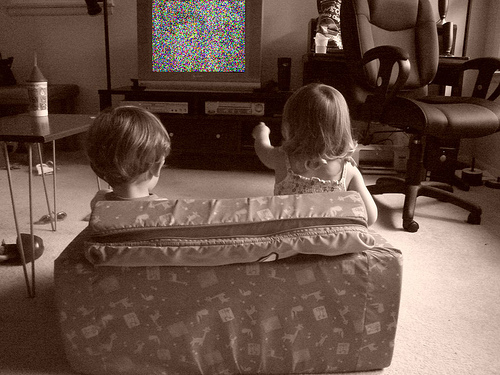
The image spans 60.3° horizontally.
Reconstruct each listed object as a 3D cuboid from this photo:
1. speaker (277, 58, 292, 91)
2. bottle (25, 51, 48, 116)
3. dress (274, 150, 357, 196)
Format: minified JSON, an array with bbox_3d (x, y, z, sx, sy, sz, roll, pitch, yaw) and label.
[{"bbox_3d":[0.255,-0.834,3.200,0.109,0.313,0.101,-3,38,-3],"label":"speaker"},{"bbox_3d":[-0.980,-0.474,1.948,0.101,0.289,0.189,-8,16,-26],"label":"bottle"},{"bbox_3d":[0.213,-0.050,1.507,0.171,0.213,0.231,-1,4,-12],"label":"dress"}]
